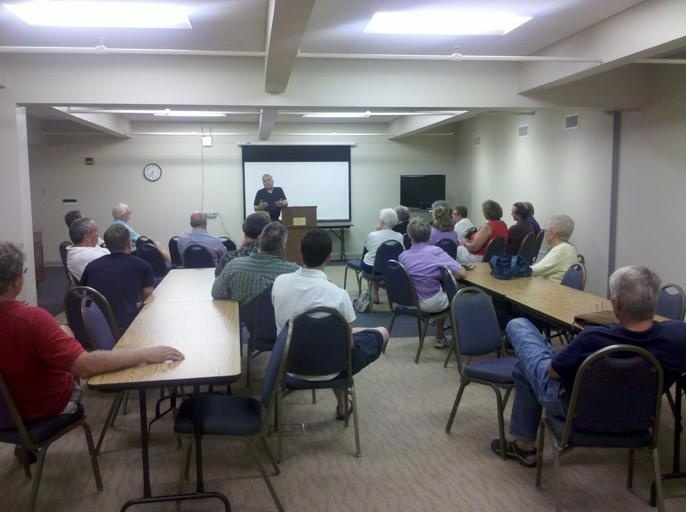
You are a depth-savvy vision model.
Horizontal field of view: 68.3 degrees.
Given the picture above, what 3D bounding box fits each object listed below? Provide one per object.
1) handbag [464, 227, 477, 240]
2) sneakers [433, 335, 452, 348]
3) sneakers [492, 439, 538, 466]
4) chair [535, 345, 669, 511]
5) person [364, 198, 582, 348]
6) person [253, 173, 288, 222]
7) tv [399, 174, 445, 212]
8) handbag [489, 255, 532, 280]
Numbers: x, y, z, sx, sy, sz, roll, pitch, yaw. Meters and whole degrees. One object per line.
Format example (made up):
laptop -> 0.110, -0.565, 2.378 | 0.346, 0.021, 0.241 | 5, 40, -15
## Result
handbag -> 2.022, -0.363, 8.097 | 0.164, 0.093, 0.245 | -2, -10, -10
sneakers -> 1.056, 0.908, 5.384 | 0.091, 0.112, 0.263 | 1, 4, 31
sneakers -> 1.136, 1.308, 3.406 | 0.110, 0.128, 0.284 | 6, 4, -40
chair -> 1.502, 0.954, 2.900 | 0.662, 1.070, 0.358 | 0, 13, 0
person -> 1.468, 0.211, 5.733 | 1.207, 2.183, 1.121 | 2, -1, -16
person -> -1.416, -1.147, 9.029 | 0.389, 0.793, 0.440 | -1, -34, 26
tv -> 1.645, -1.347, 10.711 | 1.130, 0.947, 0.327 | 0, 2, -2
handbag -> 1.636, 0.104, 4.965 | 0.247, 0.105, 0.266 | -4, 10, -5
